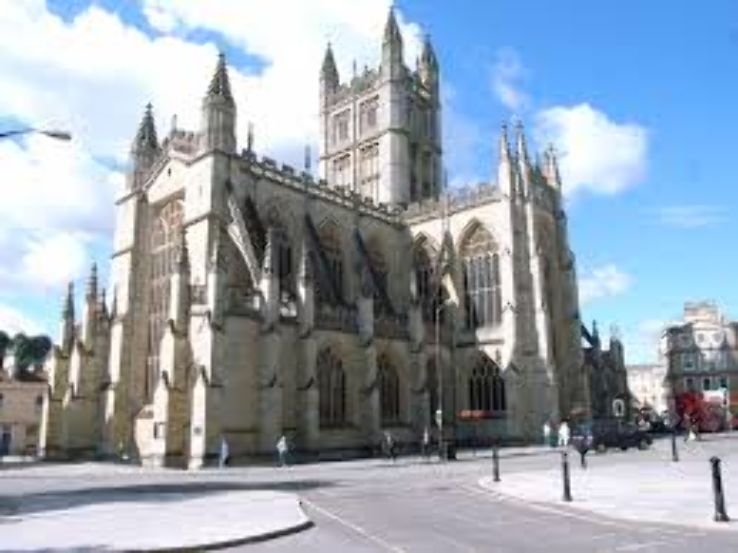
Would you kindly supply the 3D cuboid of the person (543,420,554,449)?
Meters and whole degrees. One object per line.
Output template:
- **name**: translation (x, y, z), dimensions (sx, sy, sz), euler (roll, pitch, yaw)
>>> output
- **person**: translation (11.110, 9.765, 40.164), dimensions (0.537, 1.510, 0.959), euler (-11, -17, 27)

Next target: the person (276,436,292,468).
- **person**: translation (-4.148, 8.427, 31.139), dimensions (0.591, 1.464, 2.793), euler (-2, -16, -8)

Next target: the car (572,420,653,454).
- **car**: translation (13.626, 8.994, 36.357), dimensions (4.107, 1.737, 1.473), euler (2, -17, -22)
